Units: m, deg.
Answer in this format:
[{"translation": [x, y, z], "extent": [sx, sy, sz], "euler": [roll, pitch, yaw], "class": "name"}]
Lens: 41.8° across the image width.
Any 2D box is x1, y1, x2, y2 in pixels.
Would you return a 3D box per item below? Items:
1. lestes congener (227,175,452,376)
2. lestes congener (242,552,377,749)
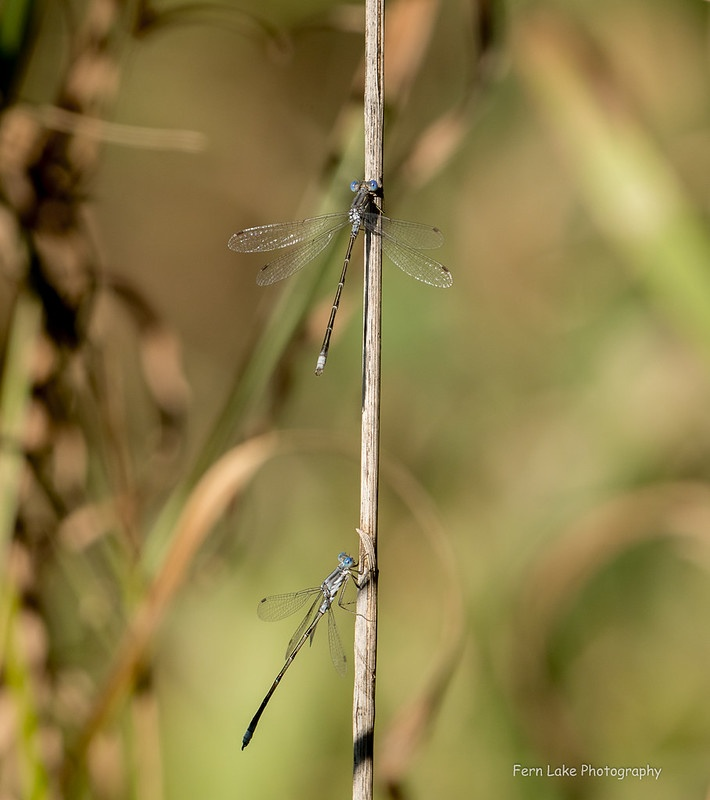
[{"translation": [-0.045, -0.420, 2.526], "extent": [0.462, 0.219, 0.608], "euler": [9, -92, 12], "class": "lestes congener"}, {"translation": [-0.143, 0.679, 2.503], "extent": [0.118, 0.293, 0.567], "euler": [11, -74, -49], "class": "lestes congener"}]
